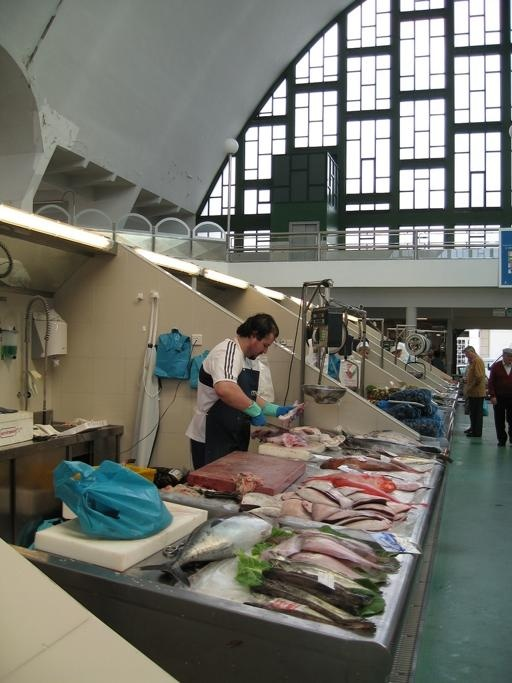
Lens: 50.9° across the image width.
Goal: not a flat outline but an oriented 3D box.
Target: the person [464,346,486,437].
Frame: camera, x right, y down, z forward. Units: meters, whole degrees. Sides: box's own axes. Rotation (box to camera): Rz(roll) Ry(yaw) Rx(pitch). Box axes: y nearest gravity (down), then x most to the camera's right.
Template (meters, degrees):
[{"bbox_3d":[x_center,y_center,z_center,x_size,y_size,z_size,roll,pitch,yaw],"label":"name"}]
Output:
[{"bbox_3d":[3.004,0.682,7.468,0.288,1.167,0.978,3,0,21],"label":"person"}]

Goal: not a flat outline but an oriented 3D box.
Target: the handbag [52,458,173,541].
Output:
[{"bbox_3d":[-0.366,0.386,1.350,0.251,0.090,0.184,19,25,19],"label":"handbag"}]

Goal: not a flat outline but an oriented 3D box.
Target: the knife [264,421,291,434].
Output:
[{"bbox_3d":[0.113,0.556,3.479,0.197,0.069,0.196,-1,-4,27],"label":"knife"}]

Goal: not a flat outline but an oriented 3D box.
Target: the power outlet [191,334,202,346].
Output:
[{"bbox_3d":[-0.421,-0.018,3.791,0.086,0.086,0.017,1,-2,2],"label":"power outlet"}]

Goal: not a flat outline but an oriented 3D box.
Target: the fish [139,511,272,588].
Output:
[{"bbox_3d":[-0.088,0.506,1.321,0.190,0.086,0.340,3,0,41],"label":"fish"}]

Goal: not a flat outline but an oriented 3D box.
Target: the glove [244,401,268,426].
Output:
[{"bbox_3d":[-0.005,0.326,2.402,0.045,0.092,0.122,-17,2,-1],"label":"glove"}]
